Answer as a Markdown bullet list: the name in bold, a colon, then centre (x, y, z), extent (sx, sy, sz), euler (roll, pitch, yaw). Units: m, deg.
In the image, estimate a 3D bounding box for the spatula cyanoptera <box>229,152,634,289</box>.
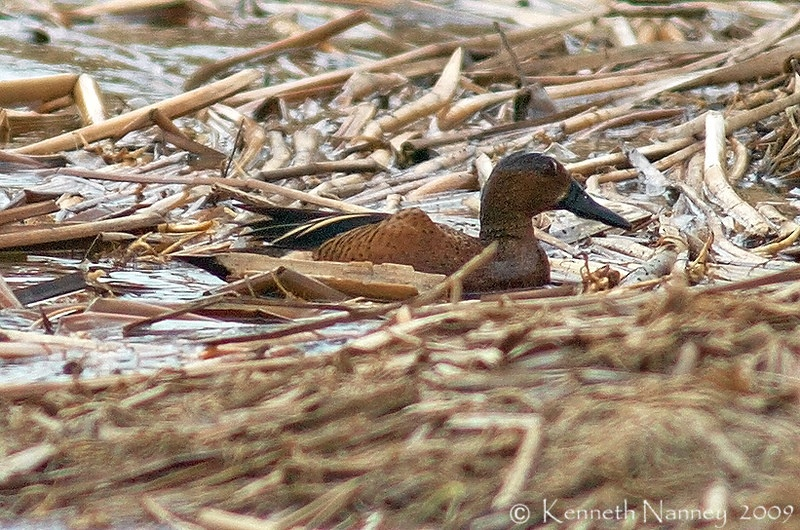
- **spatula cyanoptera**: centre (0.154, -0.095, 3.184), extent (1.551, 0.422, 0.540), euler (7, 112, 36)
